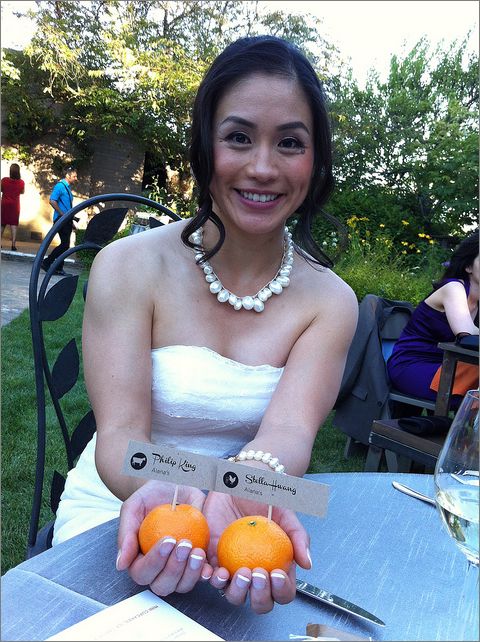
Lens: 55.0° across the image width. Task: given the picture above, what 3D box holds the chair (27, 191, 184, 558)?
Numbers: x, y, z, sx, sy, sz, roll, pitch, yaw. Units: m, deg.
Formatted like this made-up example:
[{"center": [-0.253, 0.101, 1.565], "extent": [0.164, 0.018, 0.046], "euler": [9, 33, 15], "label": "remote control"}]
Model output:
[{"center": [-0.430, 0.151, 1.312], "extent": [0.395, 0.953, 0.419], "euler": [-7, 13, -35], "label": "chair"}]

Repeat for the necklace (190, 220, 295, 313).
[{"center": [-0.006, -0.155, 1.291], "extent": [0.240, 0.252, 0.236], "euler": [-5, 8, -38], "label": "necklace"}]

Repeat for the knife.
[{"center": [0.112, 0.334, 0.543], "extent": [0.118, 0.014, 0.030], "euler": [7, -1, 41], "label": "knife"}]

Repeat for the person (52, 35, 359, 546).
[{"center": [-0.121, -0.076, 1.397], "extent": [0.776, 1.161, 0.618], "euler": [4, 5, -11], "label": "person"}]

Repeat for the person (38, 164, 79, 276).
[{"center": [-3.393, -1.886, 8.773], "extent": [0.769, 1.995, 0.640], "euler": [9, 13, 1], "label": "person"}]

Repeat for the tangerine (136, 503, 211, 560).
[{"center": [-0.071, 0.224, 0.507], "extent": [0.084, 0.056, 0.058], "euler": [8, 12, 1], "label": "tangerine"}]
